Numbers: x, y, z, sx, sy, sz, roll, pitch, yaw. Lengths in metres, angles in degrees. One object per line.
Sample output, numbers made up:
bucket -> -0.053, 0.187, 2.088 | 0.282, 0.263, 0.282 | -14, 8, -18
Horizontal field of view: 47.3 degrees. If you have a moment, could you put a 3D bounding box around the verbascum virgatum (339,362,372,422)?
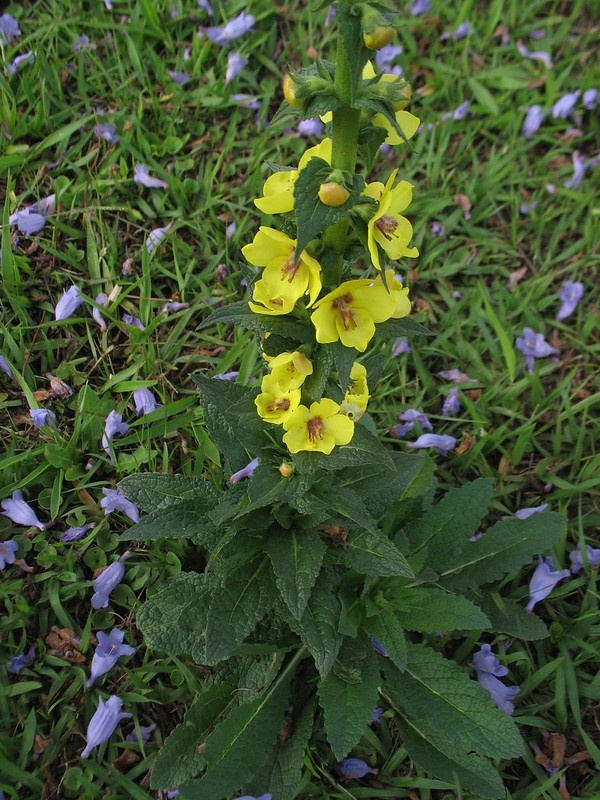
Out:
verbascum virgatum -> 0.163, -0.023, 1.927 | 0.085, 0.073, 0.160 | -6, 89, 14

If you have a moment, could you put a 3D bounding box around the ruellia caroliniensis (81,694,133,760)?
ruellia caroliniensis -> -0.630, 1.036, 2.206 | 0.181, 0.179, 0.201 | -2, 43, 1

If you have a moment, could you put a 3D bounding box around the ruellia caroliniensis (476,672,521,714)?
ruellia caroliniensis -> 0.672, 0.991, 2.322 | 0.160, 0.115, 0.093 | 28, 67, 11

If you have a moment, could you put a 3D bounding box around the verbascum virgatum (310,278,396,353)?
verbascum virgatum -> 0.127, -0.193, 1.568 | 0.206, 0.161, 0.112 | -20, 68, -11

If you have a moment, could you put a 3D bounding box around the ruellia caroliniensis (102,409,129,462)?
ruellia caroliniensis -> -0.723, 0.146, 2.661 | 0.098, 0.192, 0.104 | -29, 50, -32

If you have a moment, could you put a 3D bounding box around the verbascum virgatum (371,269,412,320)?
verbascum virgatum -> 0.211, -0.244, 1.631 | 0.062, 0.112, 0.114 | -4, 91, 32
